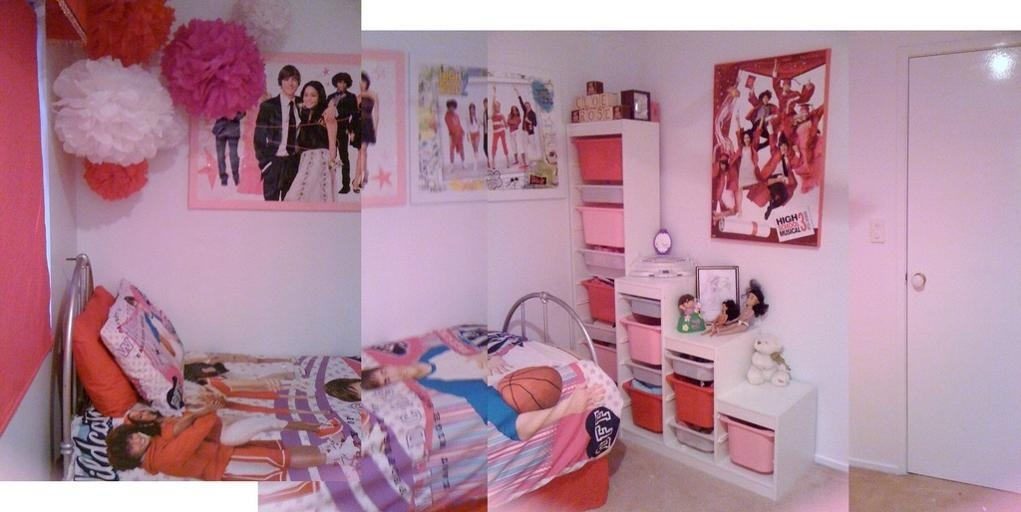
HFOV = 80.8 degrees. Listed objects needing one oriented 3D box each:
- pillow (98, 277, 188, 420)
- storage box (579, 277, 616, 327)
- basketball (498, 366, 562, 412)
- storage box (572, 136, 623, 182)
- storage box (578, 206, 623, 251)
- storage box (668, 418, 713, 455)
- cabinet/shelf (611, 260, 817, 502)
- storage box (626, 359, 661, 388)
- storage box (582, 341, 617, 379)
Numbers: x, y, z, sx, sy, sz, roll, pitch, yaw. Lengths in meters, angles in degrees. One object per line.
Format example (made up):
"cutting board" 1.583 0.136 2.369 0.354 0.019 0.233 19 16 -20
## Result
"pillow" -1.910 0.489 3.079 0.362 0.269 0.747 -9 42 -34
"storage box" 0.402 0.198 2.752 0.209 0.184 0.264 -2 2 8
"basketball" 0.084 0.584 2.649 0.293 0.162 0.157 -9 -6 -13
"storage box" 0.392 -0.413 2.718 0.332 0.187 0.197 -2 -1 -3
"storage box" 0.406 -0.133 2.631 0.235 0.123 0.184 0 1 22
"storage box" 0.809 0.811 2.701 0.193 0.054 0.143 4 7 24
"cabinet/shelf" 0.924 0.525 2.673 1.156 0.923 0.544 6 13 35
"storage box" 0.593 0.534 2.681 0.162 0.044 0.110 0 3 6
"storage box" 0.387 0.457 2.664 0.127 0.138 0.164 -10 14 -37
